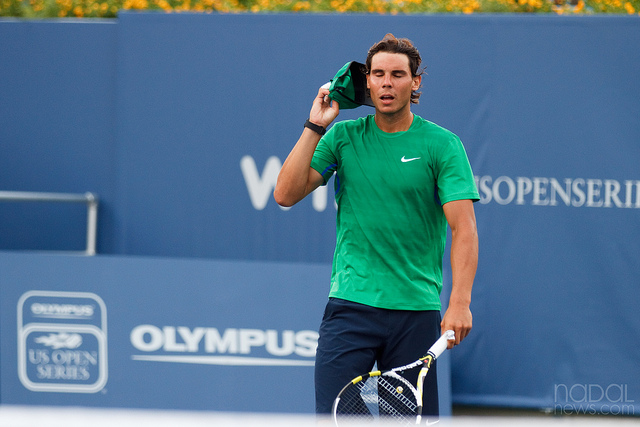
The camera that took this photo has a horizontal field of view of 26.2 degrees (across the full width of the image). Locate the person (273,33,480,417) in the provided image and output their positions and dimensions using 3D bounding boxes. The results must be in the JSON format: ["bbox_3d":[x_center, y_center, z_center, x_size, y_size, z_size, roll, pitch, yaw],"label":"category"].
[{"bbox_3d":[0.486,0.124,10.501,1.431,2.976,0.457,3,0,5],"label":"person"}]

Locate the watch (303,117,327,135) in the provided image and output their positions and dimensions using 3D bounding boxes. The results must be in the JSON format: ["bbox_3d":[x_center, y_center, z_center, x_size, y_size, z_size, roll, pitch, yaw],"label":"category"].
[{"bbox_3d":[-0.033,-0.652,10.626,0.113,0.048,0.114,24,-9,32],"label":"watch"}]
